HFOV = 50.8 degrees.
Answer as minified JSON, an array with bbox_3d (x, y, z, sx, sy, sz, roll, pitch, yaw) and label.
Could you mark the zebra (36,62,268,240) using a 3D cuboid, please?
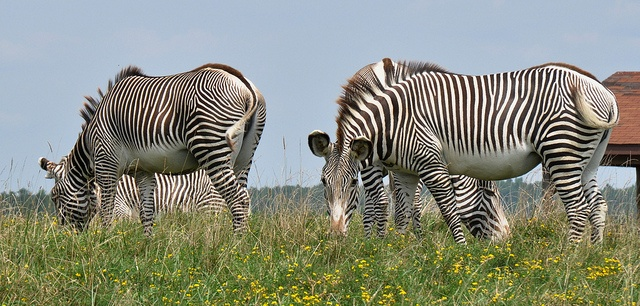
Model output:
[{"bbox_3d":[-4.287,0.070,17.082,7.621,4.015,2.187,-5,-6,32],"label":"zebra"}]
